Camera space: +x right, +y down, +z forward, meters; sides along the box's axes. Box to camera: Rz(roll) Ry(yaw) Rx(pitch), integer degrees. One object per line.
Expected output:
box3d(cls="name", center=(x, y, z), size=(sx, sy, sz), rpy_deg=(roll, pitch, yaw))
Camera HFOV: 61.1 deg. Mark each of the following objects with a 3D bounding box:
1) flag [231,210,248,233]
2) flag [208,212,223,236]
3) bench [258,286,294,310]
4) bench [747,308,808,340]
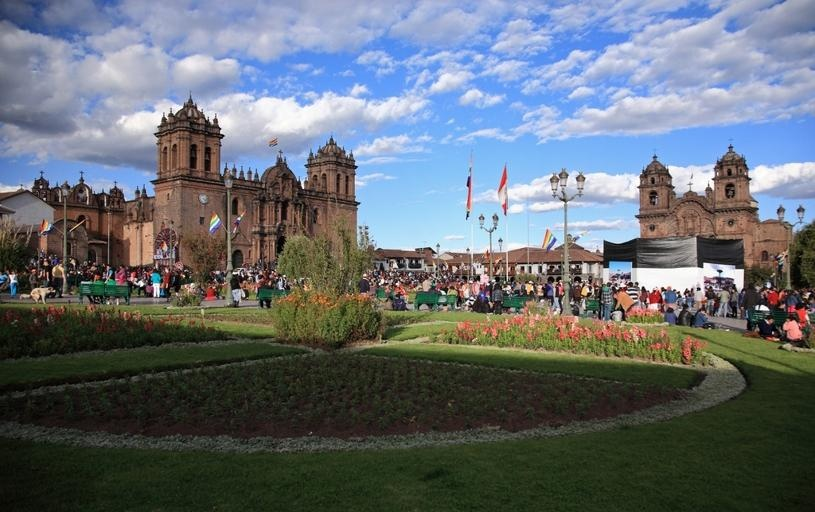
box3d(cls="flag", center=(-17.819, -3.653, 72.857), size=(2.008, 0.709, 5.325), rpy_deg=(13, -22, -14))
box3d(cls="flag", center=(-17.891, -2.892, 64.159), size=(0.262, 2.317, 2.193), rpy_deg=(7, -29, -38))
box3d(cls="bench", center=(-6.026, 1.778, 30.528), size=(1.735, 0.706, 2.059), rpy_deg=(2, -7, -20))
box3d(cls="bench", center=(12.444, 2.323, 23.195), size=(1.376, 0.671, 0.945), rpy_deg=(2, -5, 4))
